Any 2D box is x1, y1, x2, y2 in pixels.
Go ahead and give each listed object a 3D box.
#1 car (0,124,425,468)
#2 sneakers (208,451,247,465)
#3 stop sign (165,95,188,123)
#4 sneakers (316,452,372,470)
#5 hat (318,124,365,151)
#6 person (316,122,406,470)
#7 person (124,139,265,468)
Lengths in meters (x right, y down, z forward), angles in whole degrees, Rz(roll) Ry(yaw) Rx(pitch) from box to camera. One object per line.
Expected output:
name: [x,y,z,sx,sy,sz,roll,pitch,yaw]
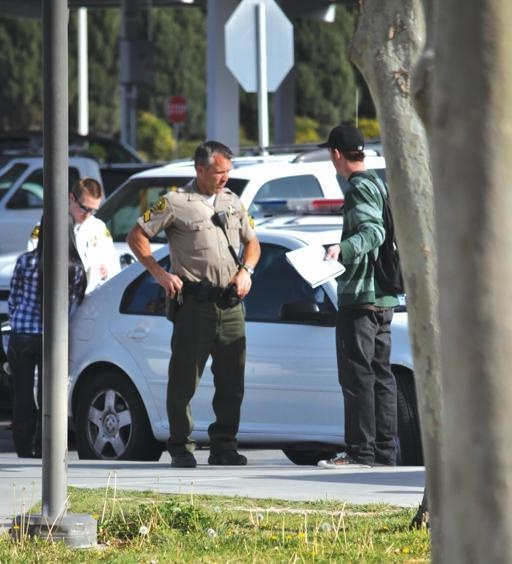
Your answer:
car: [-0.200,0.157,10.027,2.362,1.388,1.514,-3,-2,21]
sneakers: [-0.175,0.935,9.308,0.189,0.103,0.080,-2,-3,3]
stop sign: [-1.500,-3.085,31.810,0.332,0.491,1.137,-1,0,-4]
sneakers: [0.436,0.916,8.970,0.251,0.124,0.103,3,-3,25]
hat: [0.430,-0.711,9.051,0.158,0.107,0.119,10,16,31]
person: [0.530,0.079,8.936,0.404,1.722,0.611,-1,0,2]
person: [-0.325,0.135,9.163,0.657,1.658,0.423,-1,0,-2]
